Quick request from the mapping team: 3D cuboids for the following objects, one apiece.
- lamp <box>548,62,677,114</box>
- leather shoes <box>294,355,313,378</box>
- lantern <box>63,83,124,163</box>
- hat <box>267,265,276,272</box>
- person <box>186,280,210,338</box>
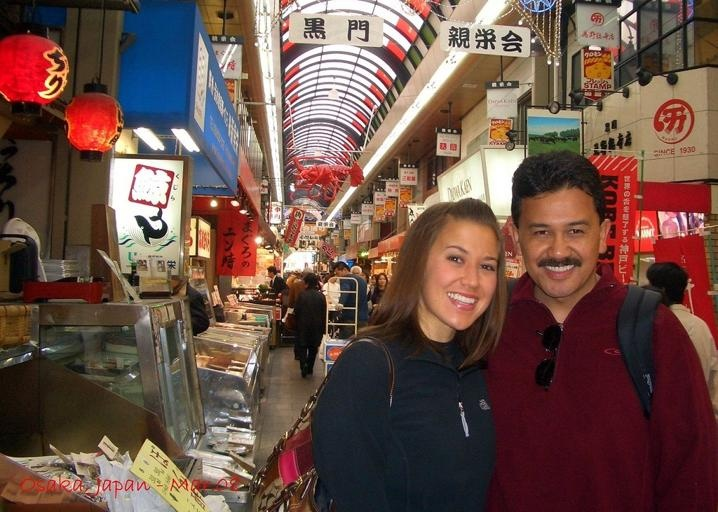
[{"bbox_3d":[3.819,-2.485,7.644,0.456,0.282,1.895,-15,4,-21],"label":"lamp"},{"bbox_3d":[-0.904,1.839,8.701,0.163,0.226,0.494,1,-4,1],"label":"leather shoes"},{"bbox_3d":[-1.625,-0.822,3.160,0.314,0.423,0.339,2,6,-12],"label":"lantern"},{"bbox_3d":[-2.094,0.320,12.462,0.147,0.185,0.186,-7,11,-30],"label":"hat"},{"bbox_3d":[-1.607,0.556,5.152,0.209,0.455,0.751,2,-1,-18],"label":"person"}]
